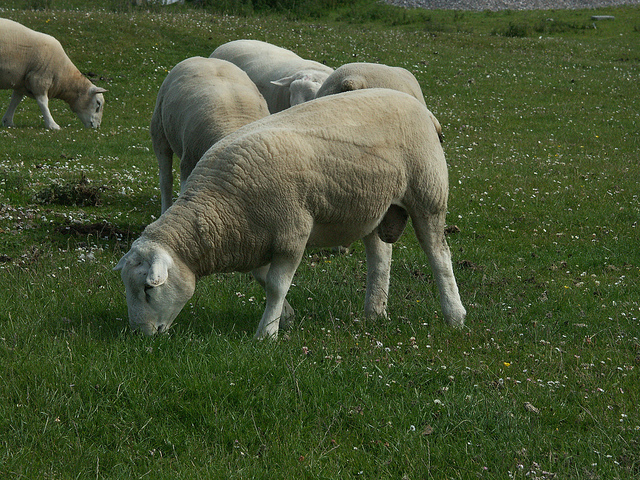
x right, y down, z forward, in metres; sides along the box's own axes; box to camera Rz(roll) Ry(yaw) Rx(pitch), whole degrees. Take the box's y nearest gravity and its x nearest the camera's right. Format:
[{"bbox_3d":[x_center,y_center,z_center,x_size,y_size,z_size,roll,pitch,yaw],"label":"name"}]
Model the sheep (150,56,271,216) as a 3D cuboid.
[{"bbox_3d":[-2.085,-1.590,14.495,1.527,3.047,3.944,-4,11,-13],"label":"sheep"}]
